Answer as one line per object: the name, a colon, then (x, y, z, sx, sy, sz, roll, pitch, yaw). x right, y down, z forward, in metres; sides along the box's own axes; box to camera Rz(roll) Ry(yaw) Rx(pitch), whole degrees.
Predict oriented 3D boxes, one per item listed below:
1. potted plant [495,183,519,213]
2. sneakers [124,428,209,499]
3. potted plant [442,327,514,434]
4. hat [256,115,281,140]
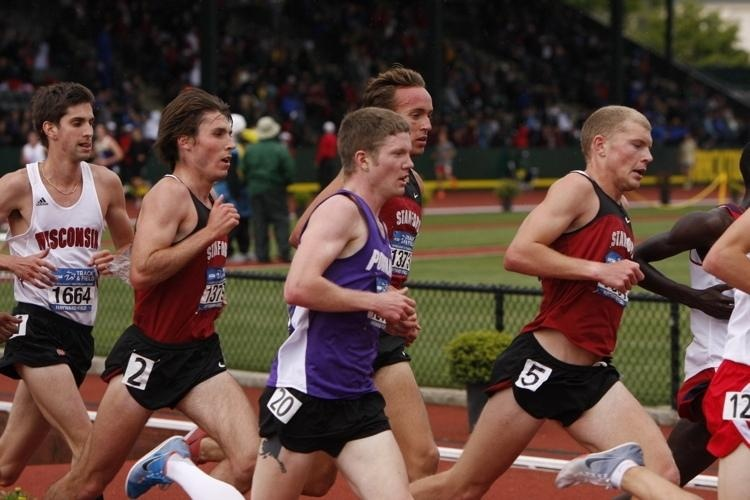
potted plant: (3.966, -1.617, 27.734, 0.796, 1.000, 0.792, -1, 7, -4)
sneakers: (-1.293, 1.292, 5.573, 0.252, 0.578, 0.230, 50, -3, 20)
potted plant: (0.736, 1.179, 8.365, 0.682, 0.835, 0.729, -8, 8, 46)
hat: (-1.874, -2.114, 15.945, 0.372, 0.400, 0.887, 7, 7, -8)
